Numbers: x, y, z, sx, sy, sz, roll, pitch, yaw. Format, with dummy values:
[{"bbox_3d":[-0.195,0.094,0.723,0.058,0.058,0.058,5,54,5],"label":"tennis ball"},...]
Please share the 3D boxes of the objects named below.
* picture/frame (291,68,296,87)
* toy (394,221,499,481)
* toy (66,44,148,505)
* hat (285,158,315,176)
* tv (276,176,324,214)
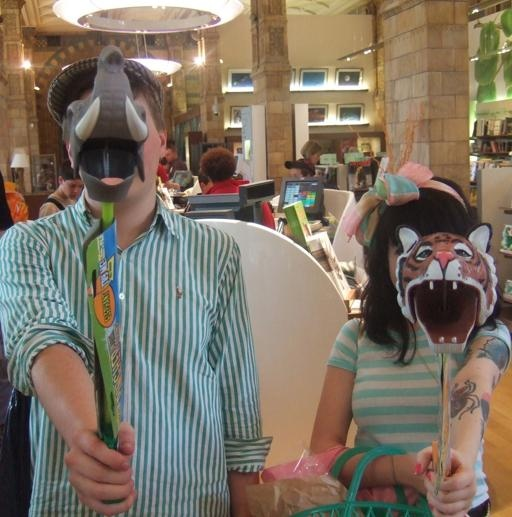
[{"bbox_3d":[1.202,-5.807,15.724,0.150,0.521,0.300,-1,5,1],"label":"picture/frame"},{"bbox_3d":[0.271,0.052,0.721,0.149,0.196,0.278,2,6,28],"label":"toy"},{"bbox_3d":[-0.156,0.020,0.546,0.089,0.495,0.235,-2,5,-21],"label":"toy"},{"bbox_3d":[0.535,-1.099,6.005,0.284,0.165,0.266,13,0,-2],"label":"hat"},{"bbox_3d":[0.462,-0.569,4.954,0.432,0.558,0.278,-1,-19,19],"label":"tv"}]
